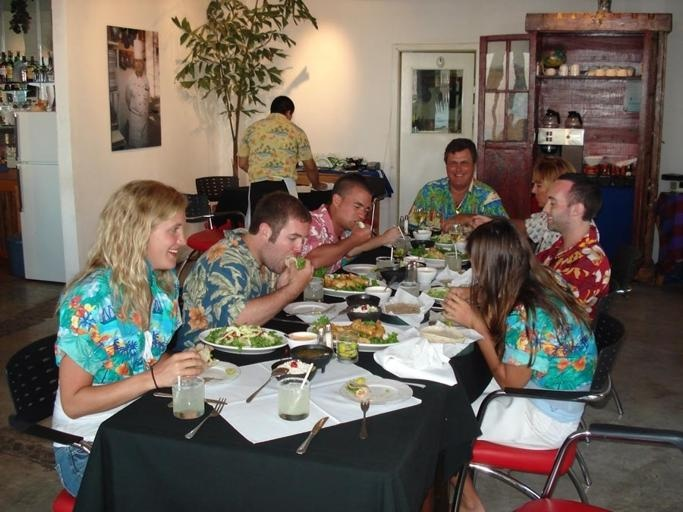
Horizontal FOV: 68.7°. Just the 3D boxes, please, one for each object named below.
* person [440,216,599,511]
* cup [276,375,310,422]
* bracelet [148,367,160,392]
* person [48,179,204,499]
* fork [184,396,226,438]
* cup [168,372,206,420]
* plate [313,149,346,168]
[{"bbox_3d":[0.702,0.468,2.016,0.561,1.207,0.391,6,14,27],"label":"person"},{"bbox_3d":[-0.136,0.409,1.469,0.102,0.111,0.108,1,10,0],"label":"cup"},{"bbox_3d":[-0.572,0.372,1.524,0.021,0.058,0.048,-9,15,-36],"label":"bracelet"},{"bbox_3d":[-0.699,0.270,1.649,0.504,1.006,0.570,-7,14,-31],"label":"person"},{"bbox_3d":[-0.389,0.453,1.411,0.026,0.022,0.155,6,21,12],"label":"fork"},{"bbox_3d":[-0.435,0.405,1.481,0.108,0.115,0.105,1,11,0],"label":"cup"},{"bbox_3d":[-0.188,-1.442,7.504,0.305,0.130,0.370,2,-2,3],"label":"plate"}]
